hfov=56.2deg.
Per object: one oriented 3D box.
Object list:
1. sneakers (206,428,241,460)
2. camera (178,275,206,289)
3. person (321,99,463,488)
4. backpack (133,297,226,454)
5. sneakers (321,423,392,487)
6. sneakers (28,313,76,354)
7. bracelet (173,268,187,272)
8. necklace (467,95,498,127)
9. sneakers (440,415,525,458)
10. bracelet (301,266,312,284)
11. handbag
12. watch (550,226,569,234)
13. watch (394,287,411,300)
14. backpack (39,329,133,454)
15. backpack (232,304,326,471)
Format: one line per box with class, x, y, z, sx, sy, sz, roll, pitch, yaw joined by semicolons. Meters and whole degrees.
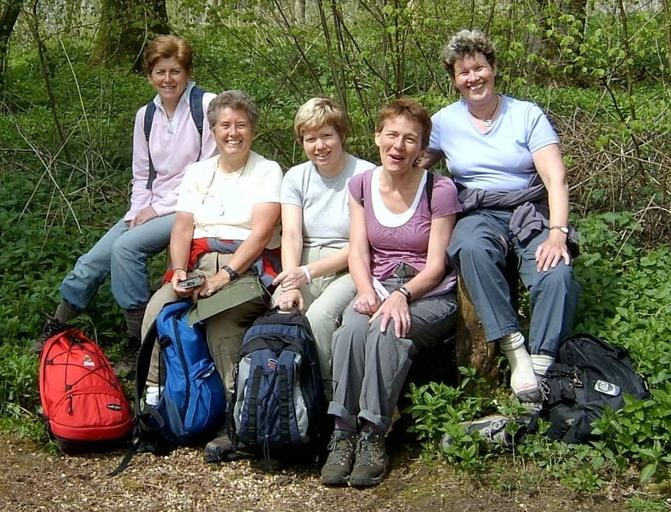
sneakers;-0.718;1.301;4.313;0.303;0.211;0.153;8;-8;-38
camera;-1.039;0.193;4.562;0.199;0.076;0.139;-1;12;8
person;0.338;0.173;4.134;0.757;2.363;1.157;3;13;24
backpack;-1.103;0.849;4.445;0.613;0.966;0.354;-5;12;-12
sneakers;0.122;1.273;3.928;0.276;0.225;0.472;-1;9;12
sneakers;-2.223;0.620;4.927;0.103;0.183;0.308;19;46;25
bracelet;-1.150;0.109;4.660;0.086;0.033;0.038;-10;14;-32
necklace;1.080;-1.059;4.610;0.175;0.245;0.254;-1;3;-3
sneakers;0.875;1.084;3.985;0.597;0.216;0.279;-6;4;0
bracelet;-0.207;0.140;4.449;0.027;0.102;0.102;-17;-7;-15
handbag;1.553;0.863;3.951;0.500;0.670;0.286;29;-4;-18
watch;1.497;-0.174;4.222;0.062;0.033;0.065;10;-9;-43
watch;0.446;0.263;4.178;0.093;0.102;0.066;2;12;18
backpack;-1.803;0.925;4.441;0.508;0.295;0.874;-12;52;-35
backpack;-0.370;0.902;4.115;0.622;0.948;0.444;-3;12;-2
